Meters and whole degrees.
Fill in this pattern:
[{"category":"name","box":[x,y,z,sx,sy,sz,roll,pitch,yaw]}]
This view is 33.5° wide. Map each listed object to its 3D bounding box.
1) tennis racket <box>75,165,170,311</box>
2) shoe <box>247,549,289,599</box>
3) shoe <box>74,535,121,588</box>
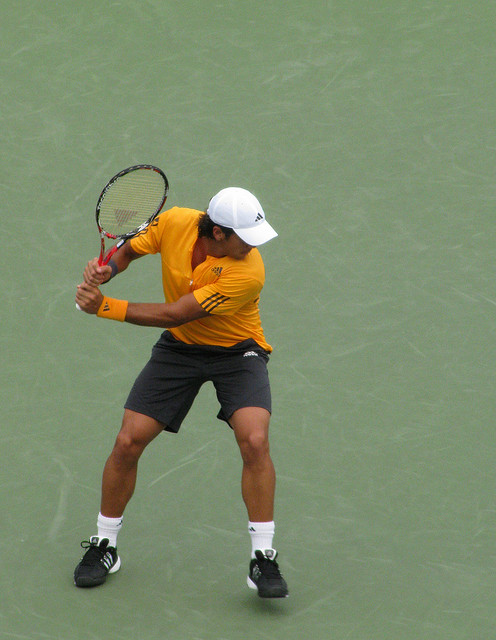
[{"category":"tennis racket","box":[-0.686,-0.417,4.370,0.386,0.852,0.052,30,2,10]},{"category":"shoe","box":[0.100,1.187,3.881,0.171,0.174,0.418,3,-2,-12]},{"category":"shoe","box":[-0.729,1.177,4.007,0.133,0.212,0.263,7,23,15]}]
